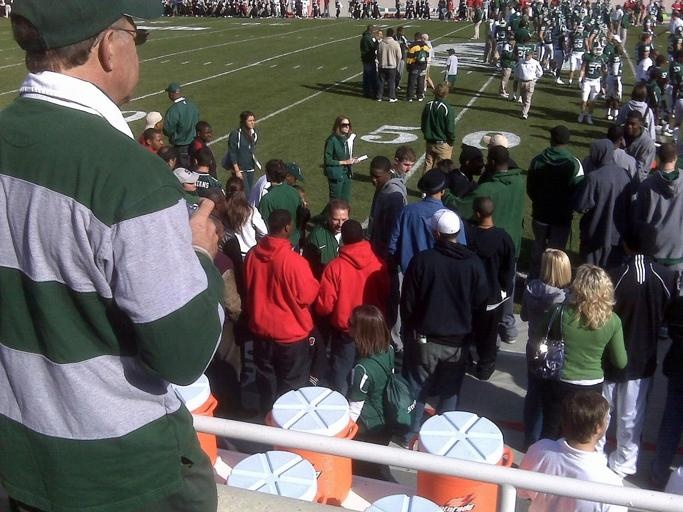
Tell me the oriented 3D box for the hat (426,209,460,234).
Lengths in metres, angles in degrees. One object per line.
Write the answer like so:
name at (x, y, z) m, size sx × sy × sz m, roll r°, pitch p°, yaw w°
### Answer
hat at (0.876, -0.285, 5.782) m, size 0.235 × 0.145 × 0.357 m, roll -4°, pitch 18°, yaw -1°

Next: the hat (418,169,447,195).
hat at (0.894, -0.730, 6.868) m, size 0.253 × 0.255 × 0.292 m, roll -2°, pitch 17°, yaw 6°

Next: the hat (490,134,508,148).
hat at (1.762, -1.276, 7.750) m, size 0.184 × 0.128 × 0.508 m, roll -1°, pitch 18°, yaw 10°

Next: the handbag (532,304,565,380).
handbag at (1.546, 0.641, 5.128) m, size 0.218 × 0.527 × 0.165 m, roll -1°, pitch 17°, yaw 10°

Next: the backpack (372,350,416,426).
backpack at (0.396, 1.067, 5.218) m, size 0.289 × 0.565 × 0.260 m, roll -1°, pitch 17°, yaw 9°
